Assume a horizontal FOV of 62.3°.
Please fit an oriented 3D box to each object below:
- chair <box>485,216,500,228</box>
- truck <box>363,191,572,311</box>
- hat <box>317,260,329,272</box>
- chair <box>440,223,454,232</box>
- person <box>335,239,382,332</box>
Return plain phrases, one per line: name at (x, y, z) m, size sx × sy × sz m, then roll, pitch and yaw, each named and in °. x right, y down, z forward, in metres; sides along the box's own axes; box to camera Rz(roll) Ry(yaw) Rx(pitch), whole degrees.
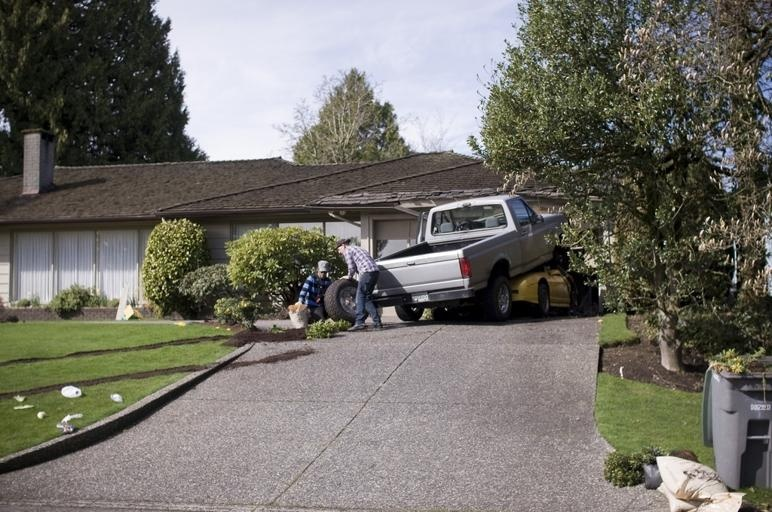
chair at (2.587, -0.816, 15.482) m, size 0.296 × 0.300 × 0.248 m, roll -3°, pitch -4°, yaw 19°
truck at (1.900, 0.019, 15.198) m, size 2.177 × 2.806 × 4.432 m, roll 0°, pitch 5°, yaw 42°
hat at (-1.566, 0.240, 15.126) m, size 0.290 × 0.239 × 0.499 m, roll 3°, pitch 0°, yaw -6°
chair at (1.544, -0.705, 16.065) m, size 0.273 × 0.211 × 0.215 m, roll -1°, pitch -8°, yaw 5°
person at (-0.571, 0.630, 14.214) m, size 0.839 × 1.969 × 0.915 m, roll -3°, pitch 4°, yaw -7°
